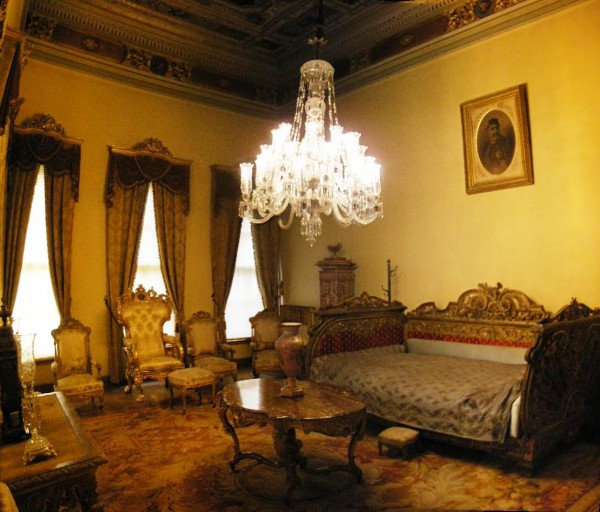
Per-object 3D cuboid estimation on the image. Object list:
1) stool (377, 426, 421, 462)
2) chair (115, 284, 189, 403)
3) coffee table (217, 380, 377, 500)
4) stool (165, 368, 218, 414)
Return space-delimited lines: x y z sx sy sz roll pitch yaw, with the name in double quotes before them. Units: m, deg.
"stool" 0.892 1.708 4.662 0.285 0.190 0.288 -3 -3 38
"chair" -2.036 1.154 6.798 0.822 1.447 1.144 -2 3 -21
"coffee table" -0.098 1.516 4.360 1.257 0.712 0.890 1 3 39
"stool" -1.327 1.600 6.236 0.530 0.471 0.529 4 -8 -40
